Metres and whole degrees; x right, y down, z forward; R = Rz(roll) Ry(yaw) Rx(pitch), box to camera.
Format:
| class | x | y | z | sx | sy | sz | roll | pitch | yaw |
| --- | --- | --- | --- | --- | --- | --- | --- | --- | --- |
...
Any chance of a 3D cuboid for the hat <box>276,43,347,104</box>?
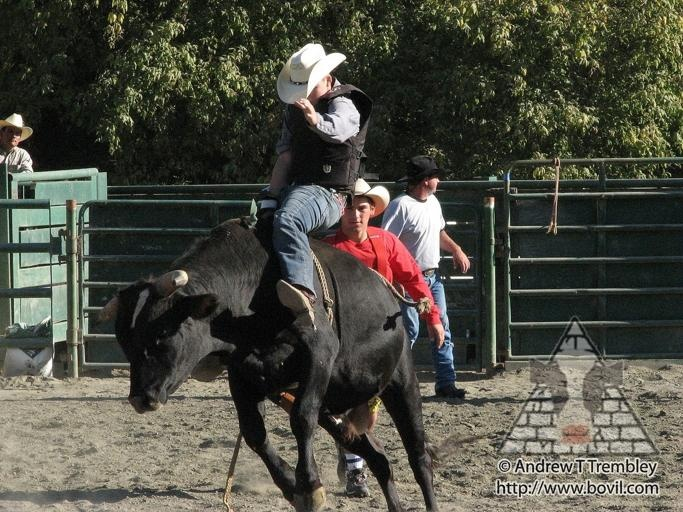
| class | x | y | z | sx | sy | sz | roll | pitch | yaw |
| --- | --- | --- | --- | --- | --- | --- | --- | --- | --- |
| hat | -0.338 | -1.830 | 12.248 | 0.409 | 0.331 | 0.735 | 2 | 44 | 50 |

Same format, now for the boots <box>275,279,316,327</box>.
| class | x | y | z | sx | sy | sz | roll | pitch | yaw |
| --- | --- | --- | --- | --- | --- | --- | --- | --- | --- |
| boots | -0.407 | 0.391 | 11.722 | 0.215 | 0.205 | 0.535 | -18 | -42 | 23 |

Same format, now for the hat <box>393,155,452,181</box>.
| class | x | y | z | sx | sy | sz | roll | pitch | yaw |
| --- | --- | --- | --- | --- | --- | --- | --- | --- | --- |
| hat | 1.035 | -1.076 | 15.090 | 0.475 | 0.184 | 0.392 | -17 | 6 | -12 |
